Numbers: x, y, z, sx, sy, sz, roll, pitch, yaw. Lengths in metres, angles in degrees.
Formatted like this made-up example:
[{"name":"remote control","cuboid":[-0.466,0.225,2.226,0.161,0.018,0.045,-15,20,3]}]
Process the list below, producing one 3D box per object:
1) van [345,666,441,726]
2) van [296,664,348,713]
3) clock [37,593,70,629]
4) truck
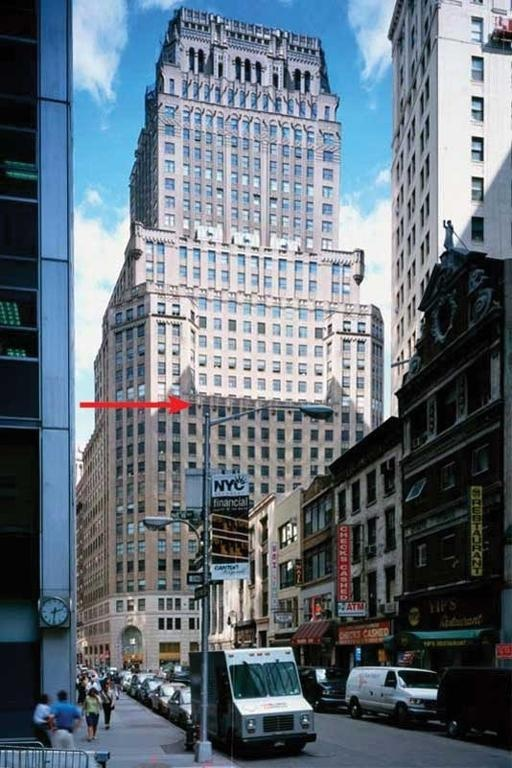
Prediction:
[{"name":"van","cuboid":[4.616,10.294,51.289,1.882,1.954,4.236,8,-11,-28]},{"name":"van","cuboid":[2.526,11.291,57.632,0.883,1.010,2.192,3,-23,-10]},{"name":"clock","cuboid":[-5.526,6.239,42.363,0.876,0.855,0.258,3,-10,-20]},{"name":"truck","cuboid":[0.321,9.004,44.114,2.538,3.623,3.232,5,-16,-26]}]
